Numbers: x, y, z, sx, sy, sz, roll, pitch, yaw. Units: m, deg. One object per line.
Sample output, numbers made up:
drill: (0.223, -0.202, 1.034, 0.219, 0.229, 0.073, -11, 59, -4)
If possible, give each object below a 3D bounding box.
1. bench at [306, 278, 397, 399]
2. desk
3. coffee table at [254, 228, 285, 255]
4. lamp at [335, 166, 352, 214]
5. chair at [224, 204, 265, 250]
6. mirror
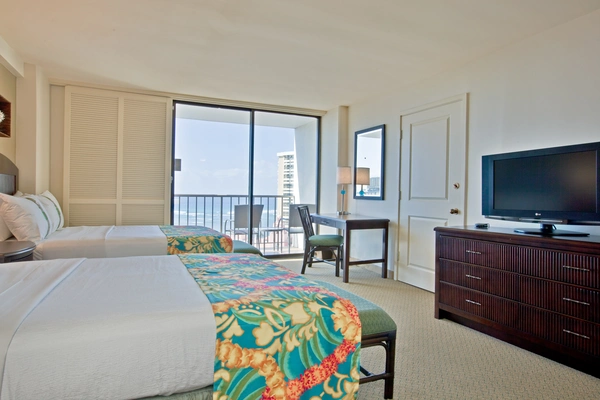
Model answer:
bench: (0.391, 0.875, 2.840, 0.737, 0.556, 1.075, 3, -2, -17)
desk: (0.715, 0.464, 5.628, 0.818, 0.945, 1.402, -1, 3, -20)
coffee table: (-0.530, 0.712, 6.653, 0.432, 0.403, 0.421, 1, -2, -24)
lamp: (0.692, -0.145, 5.978, 0.251, 0.745, 0.612, 3, 14, 7)
chair: (-0.948, 0.391, 6.394, 0.625, 0.905, 0.614, 0, 4, -22)
mirror: (1.036, -0.566, 5.754, 0.228, 1.166, 0.855, -5, 15, -21)
